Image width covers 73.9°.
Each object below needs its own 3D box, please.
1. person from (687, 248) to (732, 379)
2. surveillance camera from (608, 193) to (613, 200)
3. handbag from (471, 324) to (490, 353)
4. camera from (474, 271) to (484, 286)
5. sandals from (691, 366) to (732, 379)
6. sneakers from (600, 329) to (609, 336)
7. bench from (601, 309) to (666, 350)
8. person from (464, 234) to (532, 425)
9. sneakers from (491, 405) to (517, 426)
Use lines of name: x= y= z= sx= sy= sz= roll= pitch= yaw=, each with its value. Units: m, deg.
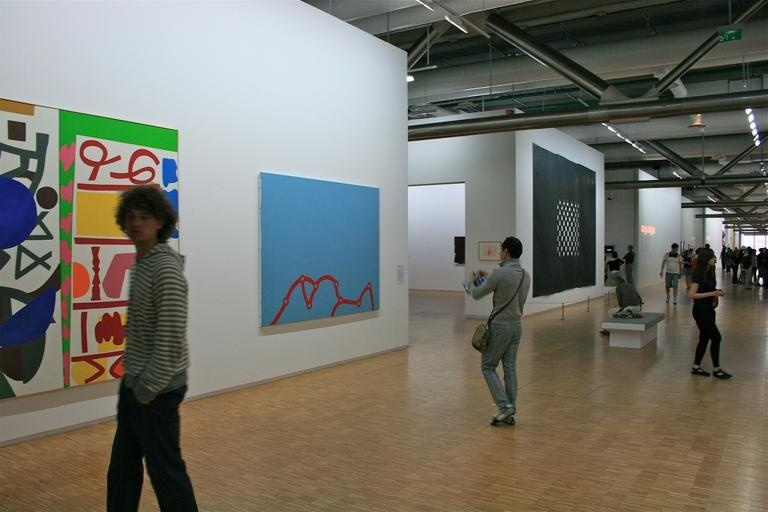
person: x=5.114 y=0.890 z=7.954 sx=0.562 sy=2.045 sz=1.406 roll=4 pitch=5 yaw=34
surveillance camera: x=10.793 y=-2.821 z=24.247 sx=0.309 sy=0.304 sz=0.161 roll=-3 pitch=-9 yaw=31
handbag: x=1.205 y=1.011 z=6.285 sx=0.192 sy=0.426 sz=0.538 roll=1 pitch=4 yaw=10
camera: x=1.152 y=0.285 z=6.180 sx=0.118 sy=0.159 sz=0.051 roll=35 pitch=12 yaw=38
sandals: x=5.136 y=1.842 z=8.004 sx=0.538 sy=0.146 sz=0.213 roll=-3 pitch=-8 yaw=26
sneakers: x=4.989 y=1.725 z=11.486 sx=0.182 sy=0.091 sz=0.255 roll=0 pitch=-5 yaw=9
bench: x=5.113 y=1.490 z=10.495 sx=0.742 sy=0.635 sz=1.320 roll=5 pitch=6 yaw=42
person: x=1.425 y=0.888 z=6.304 sx=0.667 sy=2.227 sz=0.728 roll=2 pitch=5 yaw=15
sneakers: x=1.439 y=1.893 z=6.101 sx=0.298 sy=0.243 sz=0.147 roll=0 pitch=4 yaw=-4
